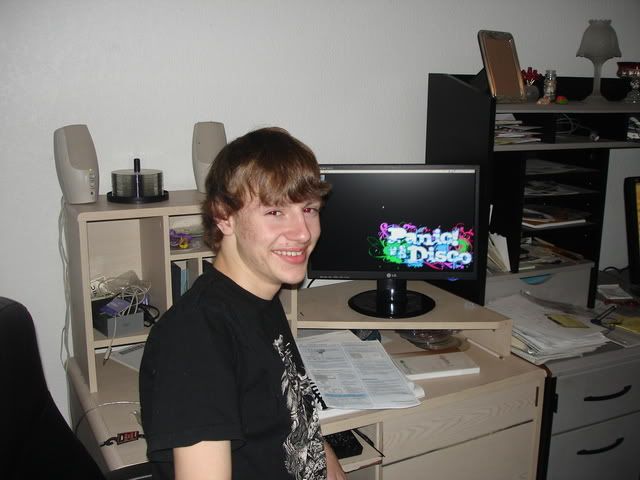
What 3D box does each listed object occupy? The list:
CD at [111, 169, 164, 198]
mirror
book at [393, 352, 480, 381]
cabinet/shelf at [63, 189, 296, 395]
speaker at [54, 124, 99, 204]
[{"bbox_3d":[-0.641,-0.190,1.826,0.130,0.059,0.124,-1,10,-7],"label":"CD"},{"bbox_3d":[0.719,-0.697,2.131,0.153,0.303,0.357,0,11,34],"label":"mirror"},{"bbox_3d":[0.416,0.445,1.884,0.174,0.016,0.117,-2,15,-8],"label":"book"},{"bbox_3d":[-0.410,0.145,1.491,0.746,0.577,0.236,-6,11,-28],"label":"cabinet/shelf"},{"bbox_3d":[-0.851,-0.260,1.839,0.127,0.274,0.180,-10,10,-25],"label":"speaker"}]
